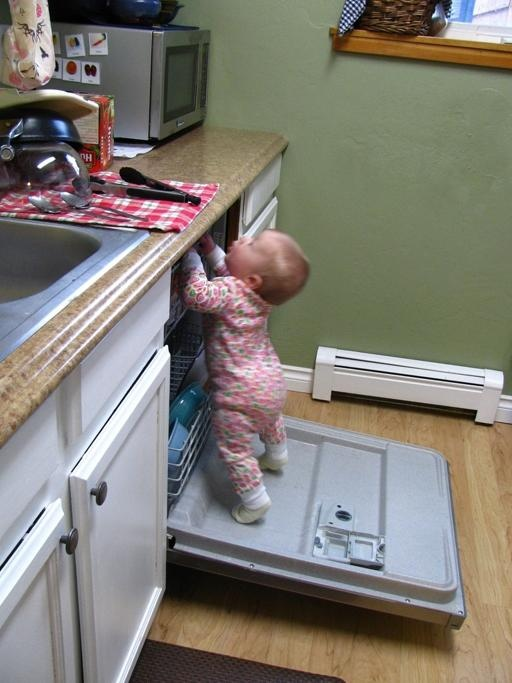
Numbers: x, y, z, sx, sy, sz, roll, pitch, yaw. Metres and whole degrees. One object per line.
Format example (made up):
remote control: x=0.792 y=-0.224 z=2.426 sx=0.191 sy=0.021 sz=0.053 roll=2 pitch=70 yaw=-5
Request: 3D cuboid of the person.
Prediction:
person: x=-0.027 y=0.096 z=1.274 sx=0.256 sy=0.728 sz=0.363 roll=4 pitch=34 yaw=3

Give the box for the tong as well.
tong: x=-0.229 y=-0.300 z=1.011 sx=0.234 sy=0.051 sz=0.092 roll=18 pitch=27 yaw=10

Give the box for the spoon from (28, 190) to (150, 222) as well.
spoon: x=-0.263 y=-0.216 z=0.850 sx=0.189 sy=0.021 sz=0.075 roll=17 pitch=20 yaw=14

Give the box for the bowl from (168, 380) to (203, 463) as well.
bowl: x=-0.163 y=0.181 z=1.212 sx=0.028 sy=0.090 sz=0.135 roll=12 pitch=48 yaw=17

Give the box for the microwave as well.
microwave: x=-0.369 y=-0.745 z=1.539 sx=0.374 sy=0.337 sz=0.536 roll=9 pitch=26 yaw=13
